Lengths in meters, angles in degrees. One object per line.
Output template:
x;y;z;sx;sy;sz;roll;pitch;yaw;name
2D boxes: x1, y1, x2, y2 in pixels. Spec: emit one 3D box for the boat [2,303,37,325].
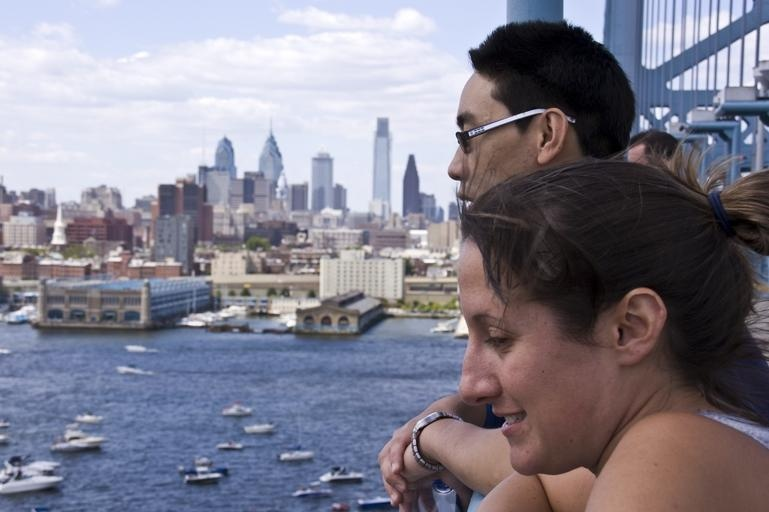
-4.865;0.788;17.212;0.242;0.108;0.336;5;10;3;boat
